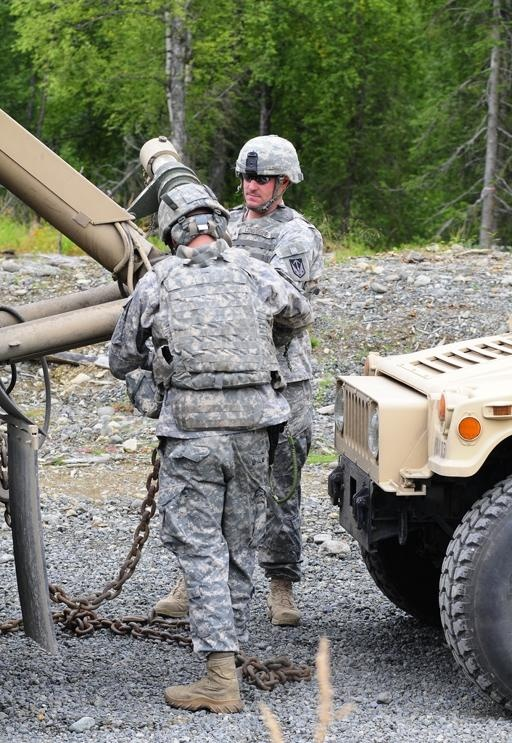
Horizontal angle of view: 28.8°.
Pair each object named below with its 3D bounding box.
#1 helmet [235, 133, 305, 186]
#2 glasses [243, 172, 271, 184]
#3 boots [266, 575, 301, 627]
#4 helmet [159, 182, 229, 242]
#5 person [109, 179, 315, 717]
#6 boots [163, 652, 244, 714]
[{"bbox_3d":[0.047,-0.862,4.023,0.268,0.201,0.268,1,6,1],"label":"helmet"},{"bbox_3d":[0.012,-0.773,3.962,0.057,0.050,0.019,5,15,17],"label":"glasses"},{"bbox_3d":[0.112,0.948,4.112,0.146,0.219,0.384,1,-13,-9],"label":"boots"},{"bbox_3d":[-0.227,-0.499,3.369,0.257,0.227,0.281,-5,-9,-3],"label":"helmet"},{"bbox_3d":[-0.138,0.225,3.343,0.514,1.686,0.536,7,9,41],"label":"person"},{"bbox_3d":[-0.188,0.995,3.192,0.278,0.172,0.094,11,-16,-20],"label":"boots"}]
